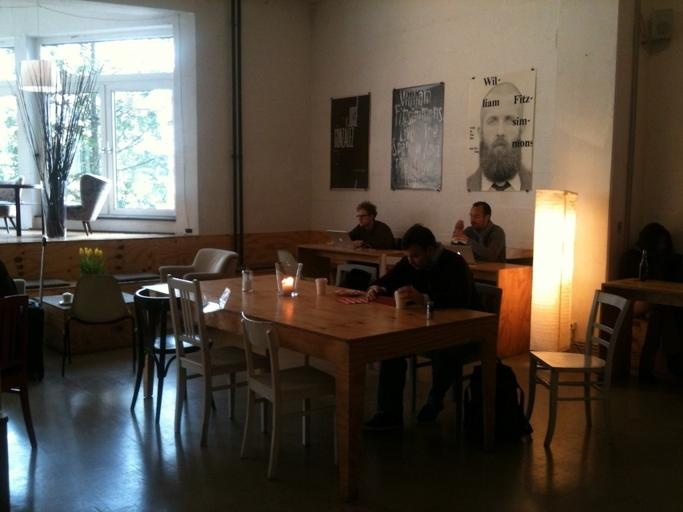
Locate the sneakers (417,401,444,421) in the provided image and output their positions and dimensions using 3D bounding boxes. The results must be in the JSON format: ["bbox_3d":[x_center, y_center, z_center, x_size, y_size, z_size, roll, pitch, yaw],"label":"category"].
[{"bbox_3d":[0.662,1.166,4.417,0.210,0.147,0.110,5,-4,-31],"label":"sneakers"}]

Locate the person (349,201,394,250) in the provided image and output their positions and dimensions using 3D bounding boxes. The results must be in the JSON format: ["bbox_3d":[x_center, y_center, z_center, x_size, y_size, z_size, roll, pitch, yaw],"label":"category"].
[{"bbox_3d":[0.405,-0.326,7.617,0.525,0.647,0.844,0,2,-31],"label":"person"}]

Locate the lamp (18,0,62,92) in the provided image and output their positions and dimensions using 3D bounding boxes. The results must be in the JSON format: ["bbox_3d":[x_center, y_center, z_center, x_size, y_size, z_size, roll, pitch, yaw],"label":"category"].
[{"bbox_3d":[-4.032,-2.814,7.739,0.503,1.394,1.716,-5,11,-26],"label":"lamp"}]

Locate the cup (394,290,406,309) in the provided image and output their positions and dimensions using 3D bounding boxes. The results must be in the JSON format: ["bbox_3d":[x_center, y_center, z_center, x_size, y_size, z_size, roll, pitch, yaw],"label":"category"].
[{"bbox_3d":[0.400,0.303,4.056,0.101,0.113,0.105,2,4,0],"label":"cup"}]

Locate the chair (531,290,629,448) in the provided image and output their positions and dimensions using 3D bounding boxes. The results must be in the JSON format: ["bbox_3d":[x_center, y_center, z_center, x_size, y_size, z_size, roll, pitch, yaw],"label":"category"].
[{"bbox_3d":[1.701,0.792,4.275,0.686,1.061,0.692,0,3,-14],"label":"chair"}]

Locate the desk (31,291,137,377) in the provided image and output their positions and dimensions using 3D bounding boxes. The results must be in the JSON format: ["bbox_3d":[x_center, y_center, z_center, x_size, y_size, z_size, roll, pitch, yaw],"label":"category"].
[{"bbox_3d":[-2.515,0.524,5.815,0.917,0.984,0.918,-2,10,-27],"label":"desk"}]

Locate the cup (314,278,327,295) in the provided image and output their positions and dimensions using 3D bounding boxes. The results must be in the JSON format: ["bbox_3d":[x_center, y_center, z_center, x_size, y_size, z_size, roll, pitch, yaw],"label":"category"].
[{"bbox_3d":[-0.153,0.236,4.596,0.106,0.116,0.105,1,4,0],"label":"cup"}]

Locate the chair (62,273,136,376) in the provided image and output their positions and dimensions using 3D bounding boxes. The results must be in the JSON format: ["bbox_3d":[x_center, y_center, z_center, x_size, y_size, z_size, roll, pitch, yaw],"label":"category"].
[{"bbox_3d":[-2.345,0.769,5.678,0.722,0.992,0.755,-10,-29,-12],"label":"chair"}]

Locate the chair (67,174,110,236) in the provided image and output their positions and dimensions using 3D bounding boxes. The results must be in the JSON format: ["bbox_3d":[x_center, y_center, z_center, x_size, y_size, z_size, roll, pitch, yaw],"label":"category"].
[{"bbox_3d":[-3.652,-0.705,8.185,0.717,0.717,0.639,0,2,-34],"label":"chair"}]

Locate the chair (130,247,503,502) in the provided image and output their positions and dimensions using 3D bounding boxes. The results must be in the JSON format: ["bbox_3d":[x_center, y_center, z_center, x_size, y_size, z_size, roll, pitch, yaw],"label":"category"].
[{"bbox_3d":[-0.086,0.799,4.132,1.972,0.963,1.245,10,14,43],"label":"chair"}]

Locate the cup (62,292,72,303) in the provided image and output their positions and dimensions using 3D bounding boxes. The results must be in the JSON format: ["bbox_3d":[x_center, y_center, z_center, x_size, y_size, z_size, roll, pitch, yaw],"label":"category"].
[{"bbox_3d":[-2.792,0.425,5.990,0.125,0.093,0.109,4,2,31],"label":"cup"}]

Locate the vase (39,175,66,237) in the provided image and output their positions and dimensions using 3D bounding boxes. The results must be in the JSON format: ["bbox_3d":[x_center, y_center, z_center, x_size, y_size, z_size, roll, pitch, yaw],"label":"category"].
[{"bbox_3d":[-3.618,-0.611,7.391,0.275,0.734,0.233,-7,12,-35],"label":"vase"}]

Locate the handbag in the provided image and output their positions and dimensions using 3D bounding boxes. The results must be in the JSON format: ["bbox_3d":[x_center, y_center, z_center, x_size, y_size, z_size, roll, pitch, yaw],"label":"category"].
[{"bbox_3d":[1.085,1.057,4.165,0.527,0.607,0.372,3,-6,-22],"label":"handbag"}]
